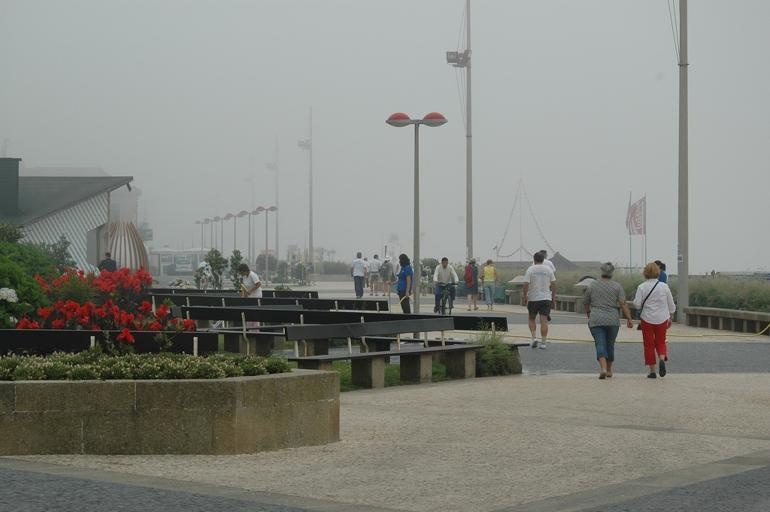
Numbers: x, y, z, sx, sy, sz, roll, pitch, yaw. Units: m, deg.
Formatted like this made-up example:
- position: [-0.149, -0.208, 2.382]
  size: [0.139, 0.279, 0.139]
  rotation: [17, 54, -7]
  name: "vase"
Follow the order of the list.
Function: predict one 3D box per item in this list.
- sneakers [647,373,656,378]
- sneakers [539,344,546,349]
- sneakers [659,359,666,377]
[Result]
- position: [5.015, 2.263, 23.592]
  size: [0.067, 0.083, 0.211]
  rotation: [5, 9, 39]
  name: "sneakers"
- position: [3.536, 2.055, 28.275]
  size: [0.102, 0.060, 0.151]
  rotation: [-1, -3, 2]
  name: "sneakers"
- position: [5.206, 2.126, 23.599]
  size: [0.110, 0.341, 0.143]
  rotation: [-1, -4, 4]
  name: "sneakers"
